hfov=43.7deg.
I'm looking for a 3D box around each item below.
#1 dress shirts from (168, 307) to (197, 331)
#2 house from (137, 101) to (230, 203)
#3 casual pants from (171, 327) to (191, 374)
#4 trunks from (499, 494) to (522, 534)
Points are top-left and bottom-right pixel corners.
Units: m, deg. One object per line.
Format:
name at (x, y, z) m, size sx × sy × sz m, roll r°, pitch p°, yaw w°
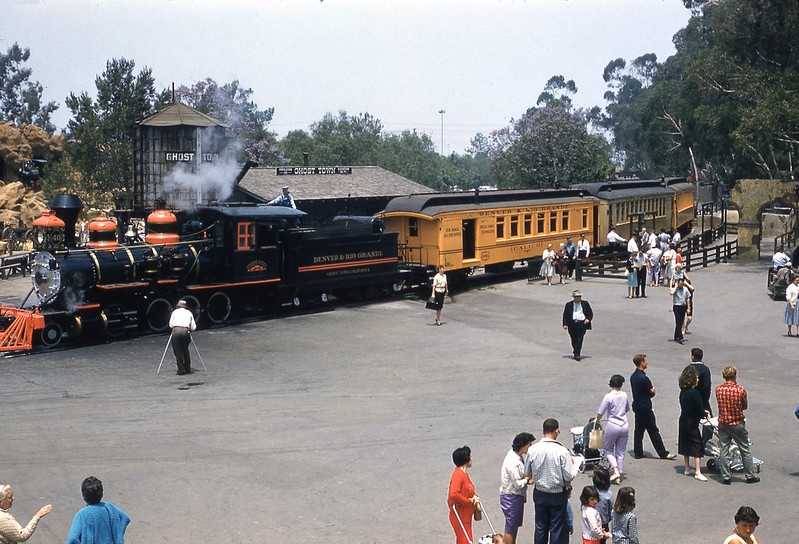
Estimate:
dress shirts at (-6.673, 1.414, 30.943) m, size 1.076 × 0.957 × 0.641 m, roll 0°, pitch 8°, yaw -8°
house at (-12.153, -6.411, 53.929) m, size 6.186 × 6.522 × 5.915 m, roll -1°, pitch 6°, yaw -7°
casual pants at (-6.647, 2.388, 30.580) m, size 0.510 × 1.413 × 0.513 m, roll -4°, pitch 13°, yaw -13°
trunks at (2.507, 5.357, 22.218) m, size 0.451 × 0.942 × 0.370 m, roll -9°, pitch 14°, yaw -32°
